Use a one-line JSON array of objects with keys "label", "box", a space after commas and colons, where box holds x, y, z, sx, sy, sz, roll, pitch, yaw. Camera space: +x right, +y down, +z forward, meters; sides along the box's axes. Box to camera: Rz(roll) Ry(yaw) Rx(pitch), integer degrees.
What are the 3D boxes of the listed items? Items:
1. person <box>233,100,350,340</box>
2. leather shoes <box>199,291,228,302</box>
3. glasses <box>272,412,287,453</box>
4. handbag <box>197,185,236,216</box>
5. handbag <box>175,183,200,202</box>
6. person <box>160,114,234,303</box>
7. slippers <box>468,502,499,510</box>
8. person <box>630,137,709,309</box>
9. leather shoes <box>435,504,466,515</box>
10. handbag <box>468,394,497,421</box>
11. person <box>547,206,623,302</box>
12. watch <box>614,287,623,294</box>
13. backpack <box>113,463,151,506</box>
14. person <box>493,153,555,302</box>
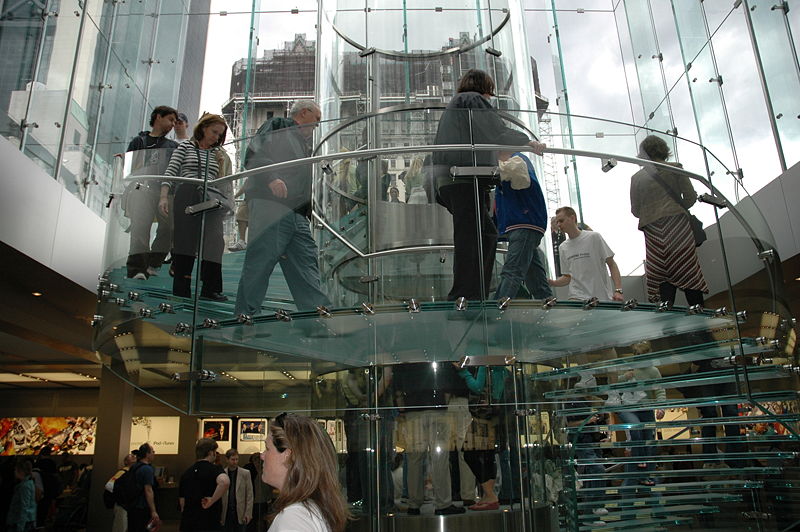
[{"label": "person", "box": [-1.047, -0.354, 6.309, 1.152, 2.679, 0.942, -9, -36, 6]}, {"label": "leather shoes", "box": [-1.801, 0.291, 6.249, 0.285, 0.128, 0.097, -1, -1, -7]}, {"label": "glasses", "box": [-0.724, 1.042, 4.026, 0.069, 0.181, 0.132, -3, 4, -9]}, {"label": "handbag", "box": [-1.782, -0.659, 6.348, 0.311, 0.228, 0.115, 19, 7, 21]}, {"label": "handbag", "box": [-2.115, -0.728, 6.455, 0.201, 0.210, 0.043, 8, -4, 9]}, {"label": "person", "box": [-2.009, -0.447, 6.418, 0.748, 1.631, 0.236, -4, -19, 4]}, {"label": "slippers", "box": [0.784, 2.223, 5.985, 0.240, 0.076, 0.097, 6, -14, -1]}, {"label": "person", "box": [2.642, -0.303, 6.479, 0.748, 1.394, 0.296, 2, -20, -14]}, {"label": "leather shoes", "box": [0.462, 2.255, 6.069, 0.286, 0.119, 0.098, -3, -5, 0]}, {"label": "handbag", "box": [0.767, 1.329, 6.069, 0.251, 0.079, 0.198, 0, 6, 2]}, {"label": "person", "box": [1.684, -0.013, 6.280, 0.749, 1.084, 0.533, -11, -14, 10]}, {"label": "watch", "box": [2.101, 0.239, 6.249, 0.066, 0.048, 0.059, 8, -31, -5]}, {"label": "backpack", "box": [-3.510, 2.890, 8.551, 0.476, 0.477, 0.264, 7, -26, 46]}, {"label": "person", "box": [1.123, -0.368, 6.121, 0.540, 1.358, 0.388, -2, -19, -1]}]
